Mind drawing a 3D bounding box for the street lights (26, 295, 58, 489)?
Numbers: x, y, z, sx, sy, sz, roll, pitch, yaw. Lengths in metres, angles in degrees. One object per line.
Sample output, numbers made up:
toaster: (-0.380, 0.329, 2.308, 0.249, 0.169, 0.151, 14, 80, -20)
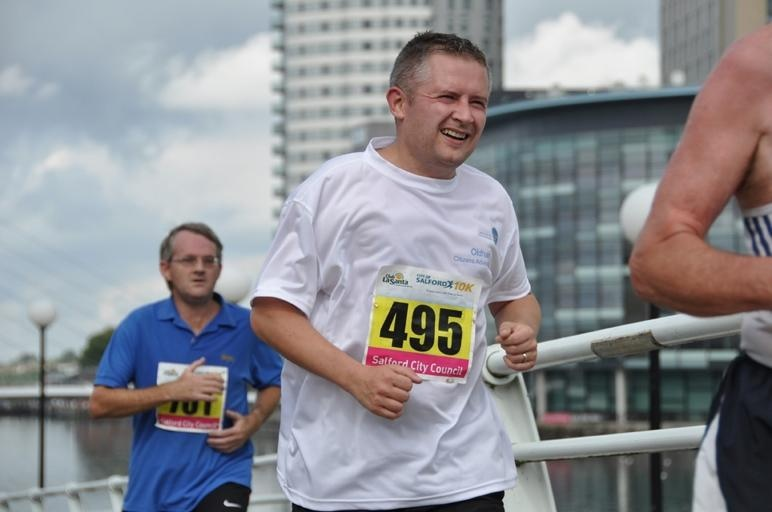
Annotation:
street lights: (-3.049, 1.235, 16.573, 0.261, 1.734, 0.266, -11, -12, 37)
